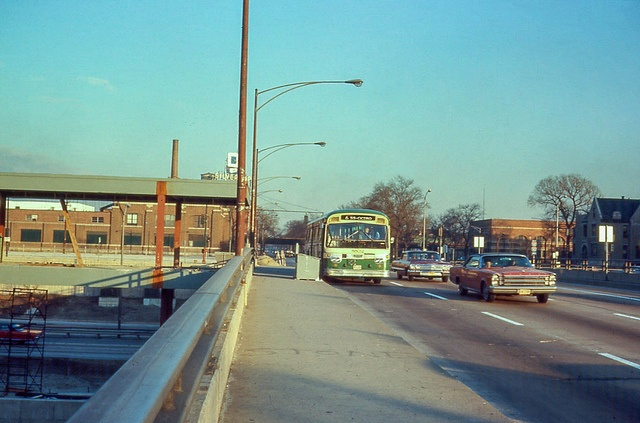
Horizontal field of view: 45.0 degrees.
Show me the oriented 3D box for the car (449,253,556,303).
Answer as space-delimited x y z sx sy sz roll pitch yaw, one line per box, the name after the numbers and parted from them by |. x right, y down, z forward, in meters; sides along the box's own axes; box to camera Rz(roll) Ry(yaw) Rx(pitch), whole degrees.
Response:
8.418 3.033 36.835 3.100 1.920 6.388 1 -1 -11 | car

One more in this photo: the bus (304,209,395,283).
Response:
1.805 1.977 43.898 2.713 3.290 13.067 1 -4 -4 | bus
